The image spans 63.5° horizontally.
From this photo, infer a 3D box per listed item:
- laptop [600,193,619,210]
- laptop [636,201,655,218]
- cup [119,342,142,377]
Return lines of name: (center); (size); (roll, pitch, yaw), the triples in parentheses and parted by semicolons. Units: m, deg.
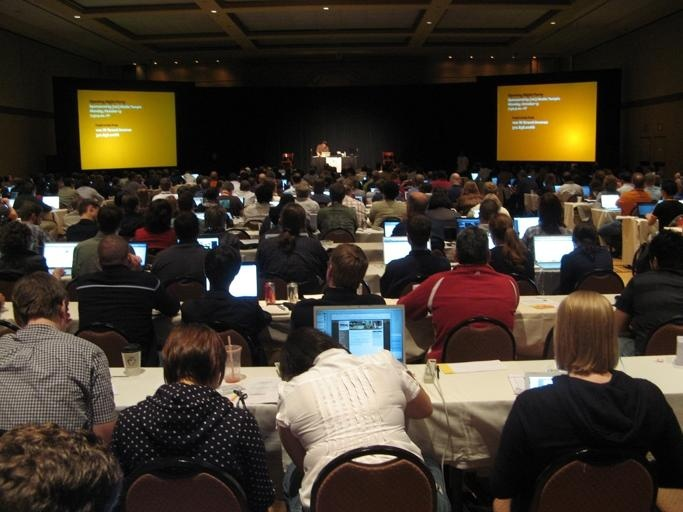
laptop: (5.141, -1.040, 10.552); (0.346, 0.276, 0.242); (2, 8, 5)
laptop: (5.223, -0.801, 9.440); (0.308, 0.245, 0.245); (2, 13, 22)
cup: (-1.185, 0.590, 3.157); (0.145, 0.219, 0.144); (-2, -2, 0)
